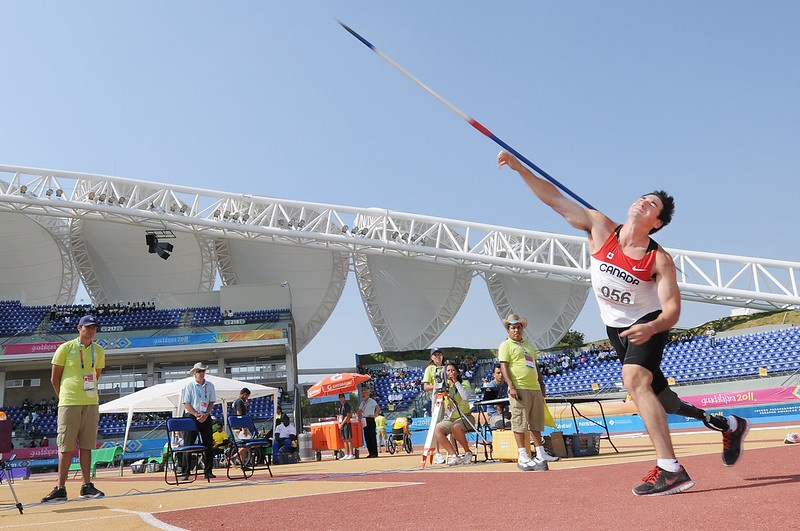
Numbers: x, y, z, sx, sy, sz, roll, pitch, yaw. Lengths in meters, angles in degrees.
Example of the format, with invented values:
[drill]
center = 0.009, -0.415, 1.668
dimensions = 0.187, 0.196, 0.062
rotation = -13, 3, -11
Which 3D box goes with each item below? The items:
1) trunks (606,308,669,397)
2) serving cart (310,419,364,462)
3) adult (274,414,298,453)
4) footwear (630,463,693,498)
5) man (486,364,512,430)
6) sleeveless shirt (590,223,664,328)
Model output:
[trunks]
center = 2.489, 0.908, 6.756
dimensions = 0.563, 0.828, 0.621
rotation = -4, -16, -5
[serving cart]
center = -1.772, 4.821, 18.529
dimensions = 1.167, 1.239, 1.965
rotation = 4, -16, -19
[adult]
center = -3.157, 4.797, 18.076
dimensions = 0.623, 0.753, 1.273
rotation = -1, 24, -6
[footwear]
center = 2.607, 2.126, 6.540
dimensions = 0.596, 0.274, 0.168
rotation = -5, -16, -3
[man]
center = 1.886, 2.384, 12.084
dimensions = 0.612, 1.080, 0.678
rotation = -3, 4, -10
[sleeveless shirt]
center = 2.409, 0.074, 6.984
dimensions = 0.643, 1.015, 0.811
rotation = -1, 15, -22
